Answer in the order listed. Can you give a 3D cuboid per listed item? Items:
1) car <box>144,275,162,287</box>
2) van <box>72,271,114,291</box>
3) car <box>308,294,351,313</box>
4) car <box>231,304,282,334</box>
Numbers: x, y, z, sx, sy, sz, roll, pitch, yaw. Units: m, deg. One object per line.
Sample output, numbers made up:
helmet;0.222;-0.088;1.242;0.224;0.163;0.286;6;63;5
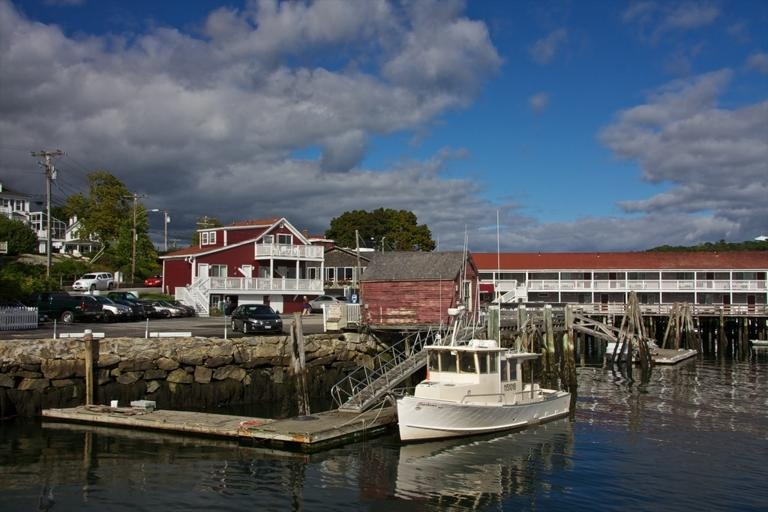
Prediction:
car;-23.594;2.673;74.365;1.108;0.998;2.460;4;-7;-40
van;-27.894;2.507;69.874;1.740;1.316;3.472;-2;-6;17
car;-4.842;4.423;66.401;3.834;1.325;1.706;0;-2;22
car;-8.202;4.068;46.815;2.419;1.833;2.513;2;-6;-30
